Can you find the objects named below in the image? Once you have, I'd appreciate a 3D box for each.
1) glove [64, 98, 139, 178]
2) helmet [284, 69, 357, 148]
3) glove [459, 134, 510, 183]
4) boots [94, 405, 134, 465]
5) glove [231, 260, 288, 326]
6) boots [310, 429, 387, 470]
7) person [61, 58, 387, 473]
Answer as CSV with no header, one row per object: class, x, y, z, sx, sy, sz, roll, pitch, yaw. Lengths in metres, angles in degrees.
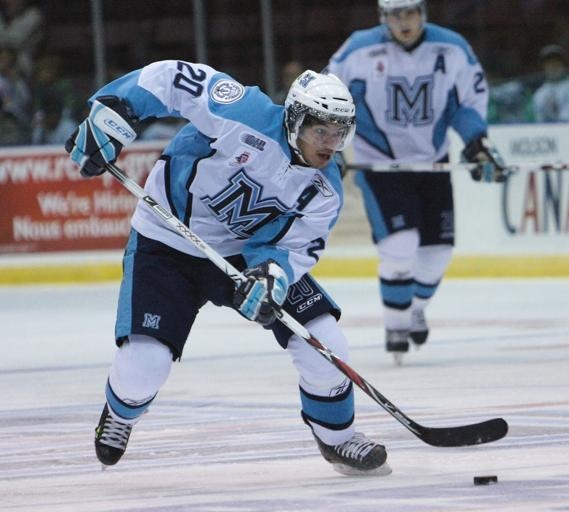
glove,-0.623,-0.395,3.887,0.187,0.111,0.266,19,48,20
helmet,0.117,-0.475,3.688,0.219,0.241,0.147,-3,9,1
glove,0.842,-0.421,4.742,0.160,0.208,0.090,-42,-6,21
boots,-0.578,0.622,3.752,0.083,0.258,0.102,20,13,-4
glove,-0.072,0.121,3.639,0.218,0.149,0.101,-17,-28,13
boots,0.226,0.675,3.813,0.099,0.121,0.286,21,-19,-39
person,-0.205,0.044,3.779,0.958,1.422,0.523,-5,10,-10
